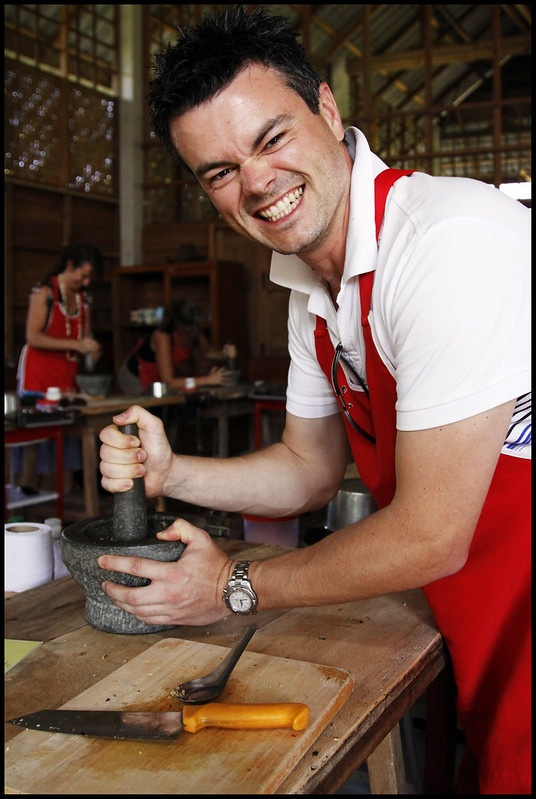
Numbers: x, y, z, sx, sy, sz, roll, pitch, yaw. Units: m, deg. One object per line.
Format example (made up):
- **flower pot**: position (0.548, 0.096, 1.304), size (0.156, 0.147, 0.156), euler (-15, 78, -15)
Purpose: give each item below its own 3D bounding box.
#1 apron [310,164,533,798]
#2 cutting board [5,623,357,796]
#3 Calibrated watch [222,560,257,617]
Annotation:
- **apron**: position (0.194, 0.108, 1.289), size (0.425, 0.929, 0.556), euler (7, 13, 12)
- **cutting board**: position (-0.097, 0.381, 0.852), size (0.339, 0.029, 0.382), euler (2, 4, 19)
- **Calibrated watch**: position (-0.039, 0.318, 1.175), size (0.052, 0.076, 0.077), euler (2, 14, 9)
